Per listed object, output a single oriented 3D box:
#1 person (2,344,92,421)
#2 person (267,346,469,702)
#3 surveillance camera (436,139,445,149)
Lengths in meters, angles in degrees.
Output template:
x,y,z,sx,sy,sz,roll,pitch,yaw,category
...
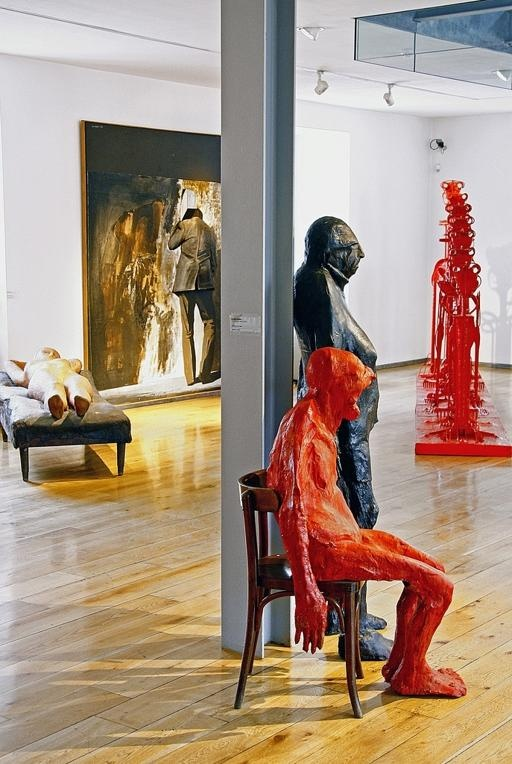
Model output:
x,y,z,sx,sy,sz,roll,pitch,yaw,category
-1.580,-0.008,5.174,0.480,0.266,1.005,-1,19,-19,person
0.286,0.359,1.727,0.491,0.861,0.469,0,-2,4,person
3.016,-3.868,10.623,0.142,0.109,0.081,-1,-1,9,surveillance camera
